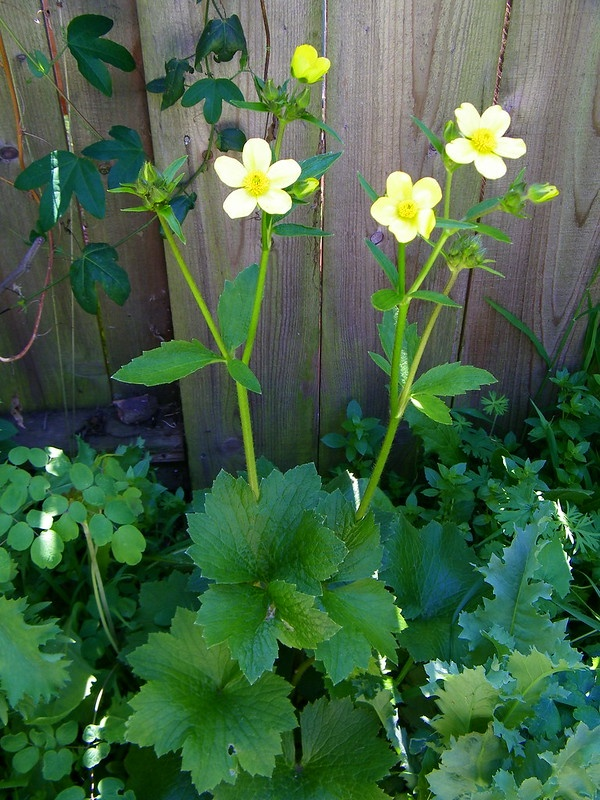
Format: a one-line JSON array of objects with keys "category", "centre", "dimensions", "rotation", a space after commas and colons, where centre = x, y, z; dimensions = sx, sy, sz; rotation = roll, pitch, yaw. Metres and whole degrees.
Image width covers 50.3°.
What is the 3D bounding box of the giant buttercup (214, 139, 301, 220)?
[{"category": "giant buttercup", "centre": [-0.067, -0.345, 1.013], "dimensions": [0.131, 0.116, 0.117], "rotation": [-2, 30, -10]}]
